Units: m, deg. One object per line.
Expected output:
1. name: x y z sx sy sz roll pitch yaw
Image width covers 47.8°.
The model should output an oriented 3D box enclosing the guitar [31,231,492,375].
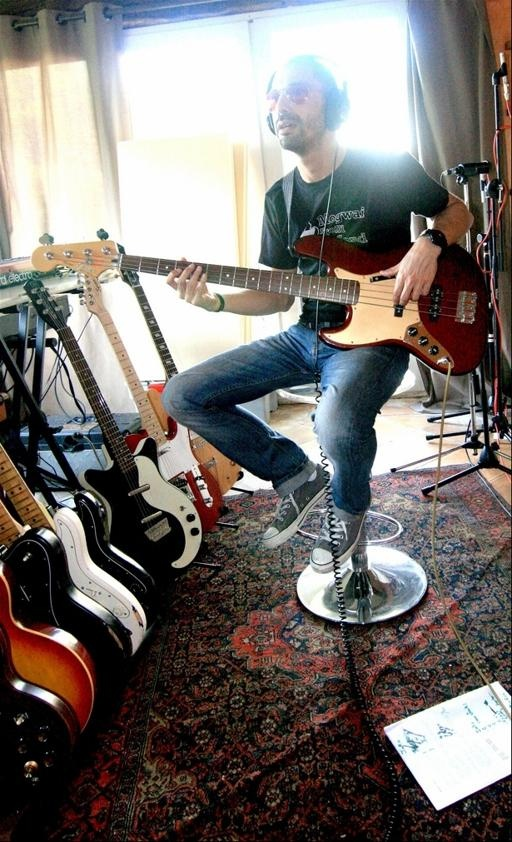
1. guitar: 0.092 -0.325 1.572 1.011 0.440 0.201 -2 17 18

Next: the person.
1. person: 0.178 -0.311 1.617 0.710 1.284 0.540 2 2 20

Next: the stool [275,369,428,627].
1. stool: 0.312 0.186 1.566 0.515 0.585 0.518 -6 21 7

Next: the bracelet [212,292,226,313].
1. bracelet: -0.108 -0.338 1.673 0.029 0.049 0.035 -8 14 -34

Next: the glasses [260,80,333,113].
1. glasses: 0.107 -0.813 1.445 0.157 0.060 0.053 -7 17 3
